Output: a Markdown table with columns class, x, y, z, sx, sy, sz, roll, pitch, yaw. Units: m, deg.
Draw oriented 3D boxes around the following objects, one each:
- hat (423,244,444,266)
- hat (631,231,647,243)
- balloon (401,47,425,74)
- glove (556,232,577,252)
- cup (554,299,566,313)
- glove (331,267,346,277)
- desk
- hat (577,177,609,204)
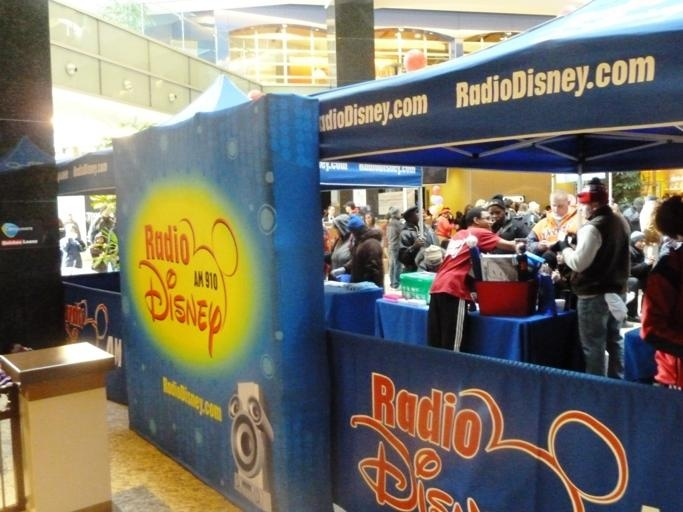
| class | x | y | z | sx | sy | sz | roll | pitch | yaw |
| --- | --- | --- | --- | --- | --- | --- | --- | --- | --- |
| hat | 0.987 | -0.018 | 6.573 | 0.248 | 0.249 | 0.197 | 3 | -7 | -38 |
| hat | 3.869 | -0.257 | 7.841 | 0.179 | 0.114 | 0.179 | -9 | 0 | -4 |
| balloon | 0.553 | -1.511 | 4.626 | 0.116 | 0.161 | 0.251 | -12 | 11 | -43 |
| glove | 2.255 | -0.147 | 6.044 | 0.161 | 0.085 | 0.227 | -20 | 21 | -9 |
| cup | 1.951 | 0.434 | 5.369 | 0.114 | 0.127 | 0.116 | 0 | 7 | 0 |
| glove | -0.050 | 0.222 | 8.681 | 0.129 | 0.066 | 0.170 | -11 | 11 | -33 |
| desk | 1.071 | 0.658 | 5.758 | 1.020 | 0.462 | 1.830 | -11 | 14 | -42 |
| hat | 2.182 | -0.556 | 5.249 | 0.194 | 0.229 | 0.251 | 9 | 22 | 16 |
